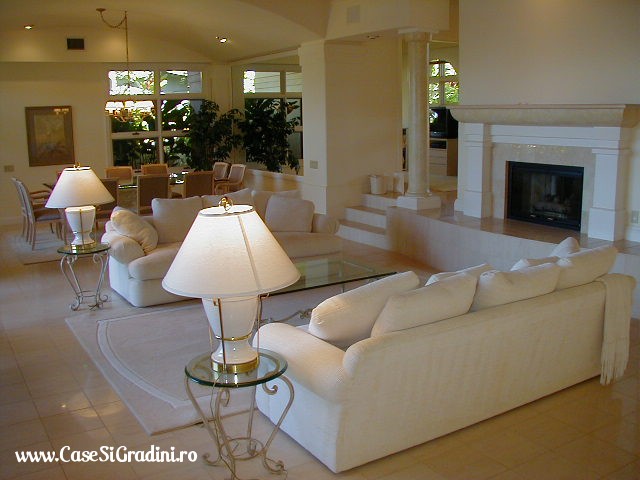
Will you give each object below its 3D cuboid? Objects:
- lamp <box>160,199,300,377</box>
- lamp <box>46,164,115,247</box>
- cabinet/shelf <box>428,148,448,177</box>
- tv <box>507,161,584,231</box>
[{"bbox_3d":[-0.499,0.253,2.645,0.752,0.915,0.757,-1,9,3],"label":"lamp"},{"bbox_3d":[-2.798,-0.365,5.308,0.610,0.925,0.666,-12,17,-37],"label":"lamp"},{"bbox_3d":[3.179,-2.126,12.467,0.308,0.697,0.660,-7,14,-22],"label":"cabinet/shelf"},{"bbox_3d":[3.240,-0.662,6.650,0.165,0.876,1.165,-10,16,-33],"label":"tv"}]
